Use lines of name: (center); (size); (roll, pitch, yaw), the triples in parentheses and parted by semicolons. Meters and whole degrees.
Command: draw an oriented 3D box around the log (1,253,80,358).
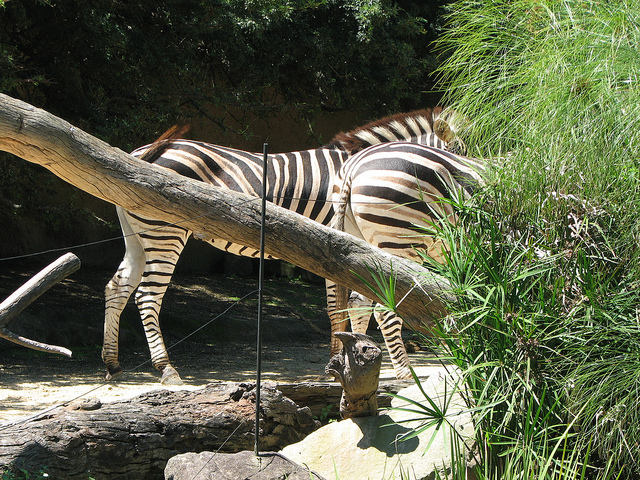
log: (-1.553, 0.369, 4.048); (0.377, 0.567, 0.430); (4, 18, 0)

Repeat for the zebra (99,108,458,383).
zebra: (-0.105, 0.052, 7.420); (4.031, 2.931, 0.959); (0, -13, -10)

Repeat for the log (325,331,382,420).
log: (0.231, 0.933, 4.862); (0.376, 0.714, 0.261); (5, 18, 6)
